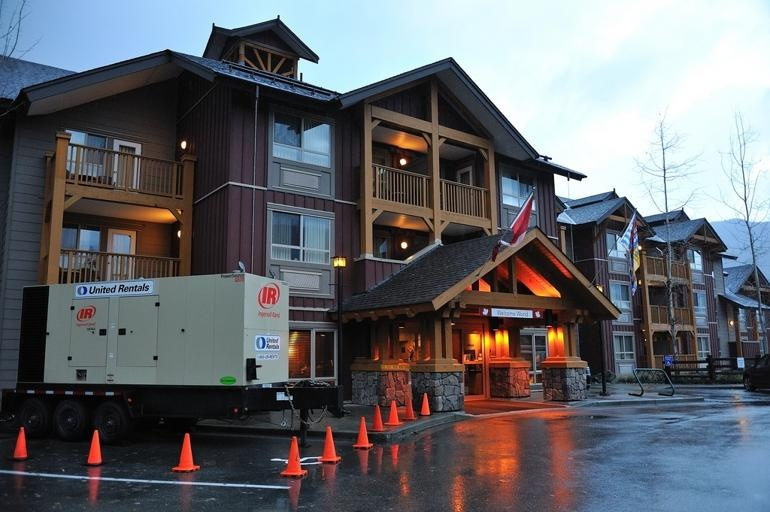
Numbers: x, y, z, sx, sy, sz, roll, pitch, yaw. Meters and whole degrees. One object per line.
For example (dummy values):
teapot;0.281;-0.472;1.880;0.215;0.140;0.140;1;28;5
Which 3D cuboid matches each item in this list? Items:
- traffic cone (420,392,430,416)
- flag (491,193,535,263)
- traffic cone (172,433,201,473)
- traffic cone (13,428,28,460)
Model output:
traffic cone;1.355;4.855;21.100;0.326;0.764;0.983;-3;-13;4
flag;4.559;-1.114;22.773;1.822;2.470;1.089;0;-13;-10
traffic cone;-4.672;4.564;14.909;0.611;0.865;0.681;2;-14;-15
traffic cone;-9.257;4.714;16.152;0.319;0.793;1.164;5;-15;-29
